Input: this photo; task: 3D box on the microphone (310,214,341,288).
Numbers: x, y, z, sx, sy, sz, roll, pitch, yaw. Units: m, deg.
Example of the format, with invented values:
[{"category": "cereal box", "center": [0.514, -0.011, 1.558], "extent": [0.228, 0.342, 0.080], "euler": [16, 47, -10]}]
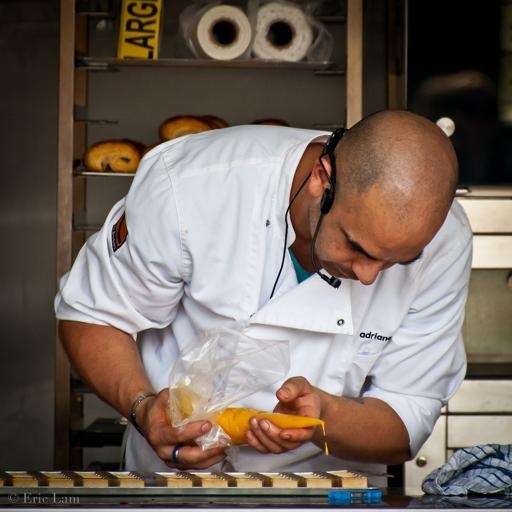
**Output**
[{"category": "microphone", "center": [0.134, -0.015, 1.334], "extent": [0.051, 0.030, 0.150], "euler": [-21, -23, 2]}]

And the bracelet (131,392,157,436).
[{"category": "bracelet", "center": [-0.224, 0.307, 1.348], "extent": [0.021, 0.067, 0.074], "euler": [-3, -5, 5]}]

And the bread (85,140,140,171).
[{"category": "bread", "center": [-0.526, -0.379, 2.547], "extent": [0.240, 0.080, 0.184], "euler": [-7, -10, -25]}]

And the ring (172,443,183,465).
[{"category": "ring", "center": [-0.146, 0.358, 1.251], "extent": [0.013, 0.032, 0.024], "euler": [7, 44, 10]}]

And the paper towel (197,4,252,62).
[{"category": "paper towel", "center": [-0.115, -0.766, 2.368], "extent": [0.223, 0.200, 0.130], "euler": [3, -2, -5]}]
